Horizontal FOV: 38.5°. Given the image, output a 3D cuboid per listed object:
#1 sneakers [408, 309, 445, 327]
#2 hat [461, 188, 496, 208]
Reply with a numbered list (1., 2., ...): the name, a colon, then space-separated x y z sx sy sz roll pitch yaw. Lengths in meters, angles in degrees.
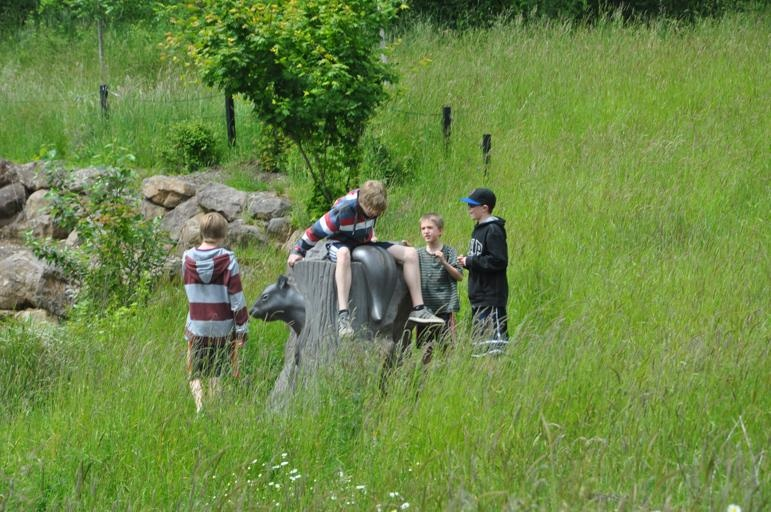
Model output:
1. sneakers: 0.592 0.894 16.528 0.452 0.254 0.254 2 -1 11
2. hat: 1.464 -0.911 16.862 0.387 0.260 0.303 20 8 2
